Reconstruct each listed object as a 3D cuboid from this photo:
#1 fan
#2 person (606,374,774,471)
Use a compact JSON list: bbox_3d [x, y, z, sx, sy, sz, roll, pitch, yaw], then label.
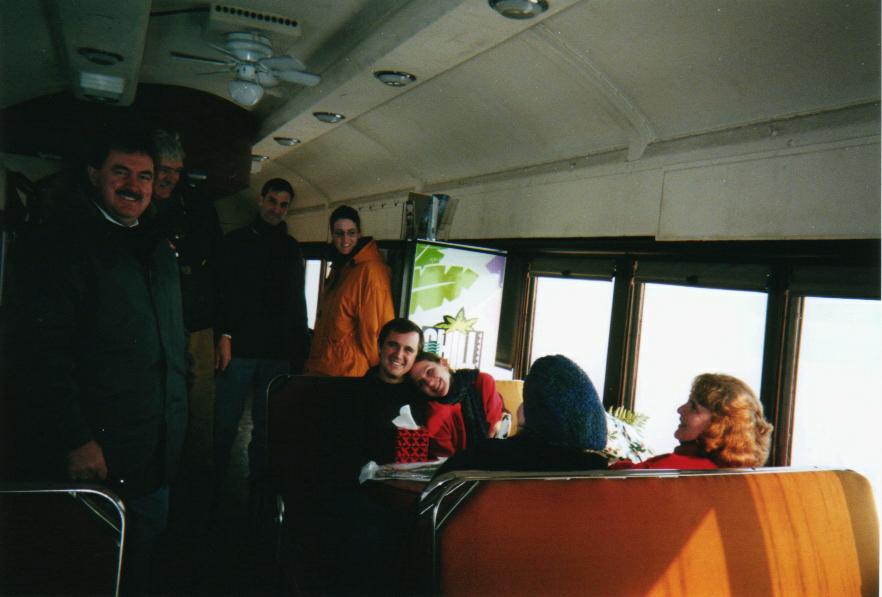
[{"bbox_3d":[-1.298,-1.719,5.389,0.675,0.209,0.648,13,-1,-10],"label":"fan"},{"bbox_3d":[1.435,0.718,4.147,0.737,0.364,0.547,-16,0,11],"label":"person"}]
